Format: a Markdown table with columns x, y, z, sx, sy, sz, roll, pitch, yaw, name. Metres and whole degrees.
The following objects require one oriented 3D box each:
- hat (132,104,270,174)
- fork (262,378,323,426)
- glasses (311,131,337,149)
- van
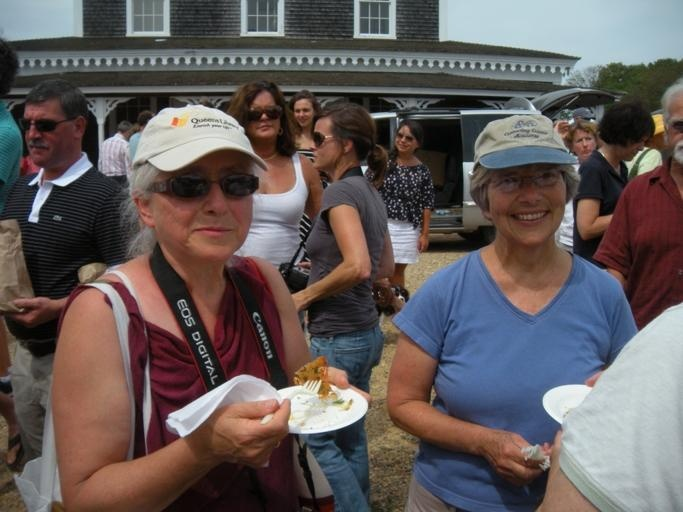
| x | y | z | sx | sy | sz | roll | pitch | yaw | name |
| --- | --- | --- | --- | --- | --- | --- | --- | --- | --- |
| -0.605 | -0.471 | 2.947 | 0.288 | 0.171 | 0.391 | -3 | 9 | -41 | hat |
| -0.195 | 0.595 | 2.921 | 0.072 | 0.067 | 0.437 | 35 | 25 | 9 | fork |
| -0.115 | -0.717 | 4.558 | 0.106 | 0.051 | 0.097 | 1 | -1 | -14 | glasses |
| 3.264 | -1.836 | 14.459 | 5.785 | 3.280 | 2.487 | -2 | 7 | -20 | van |
